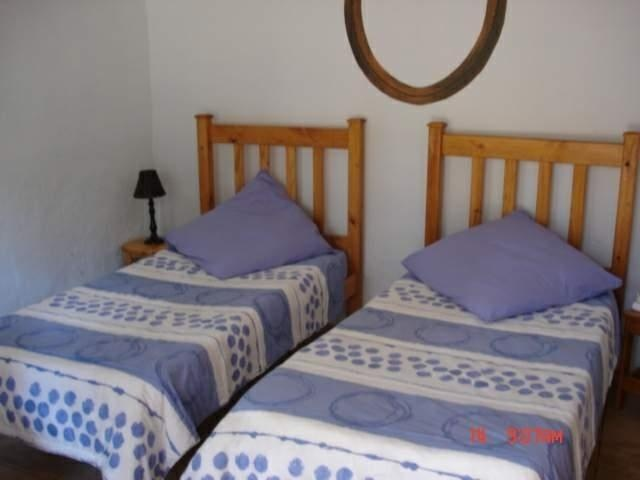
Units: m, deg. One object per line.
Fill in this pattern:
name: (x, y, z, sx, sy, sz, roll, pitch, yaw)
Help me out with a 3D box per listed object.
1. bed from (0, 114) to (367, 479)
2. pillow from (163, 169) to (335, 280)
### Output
bed: (-0.669, 0.091, 2.936, 1.233, 1.646, 2.121, 7, 19, 23)
pillow: (-0.379, -0.059, 3.066, 0.609, 0.155, 0.609, -27, 45, -29)
